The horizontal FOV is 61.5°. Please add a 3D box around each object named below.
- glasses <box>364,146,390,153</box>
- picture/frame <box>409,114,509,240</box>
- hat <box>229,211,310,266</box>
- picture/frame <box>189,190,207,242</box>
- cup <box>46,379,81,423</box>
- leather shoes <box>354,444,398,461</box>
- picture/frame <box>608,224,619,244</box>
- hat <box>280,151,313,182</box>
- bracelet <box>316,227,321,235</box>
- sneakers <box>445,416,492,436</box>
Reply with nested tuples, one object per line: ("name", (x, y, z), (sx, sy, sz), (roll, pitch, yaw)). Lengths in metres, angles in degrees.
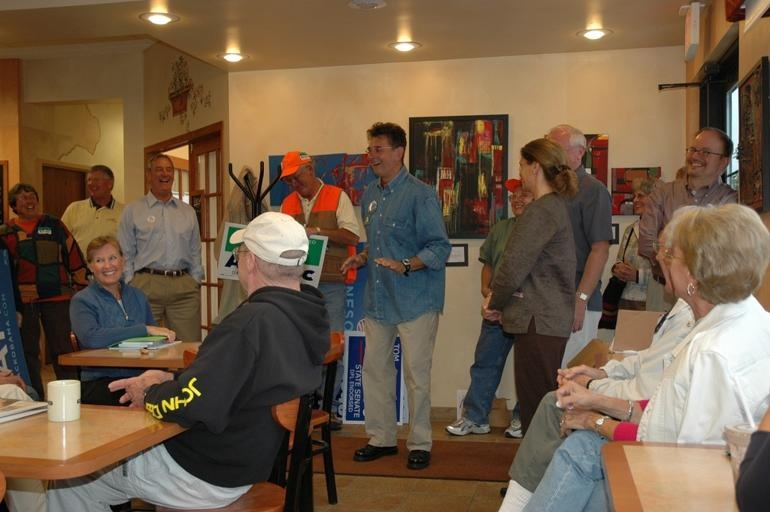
("glasses", (-0.050, -0.798, 4.901), (0.192, 0.051, 0.059), (4, 7, 30))
("picture/frame", (0.752, -0.714, 6.069), (1.196, 1.467, 0.058), (-1, -2, 10))
("hat", (-0.551, -0.084, 3.088), (0.361, 0.180, 0.267), (13, 12, -9))
("picture/frame", (-2.210, -0.480, 7.663), (0.017, 0.547, 0.400), (-1, 1, -37))
("cup", (-1.353, 0.613, 2.740), (0.158, 0.173, 0.147), (2, 2, 0))
("leather shoes", (-0.063, 1.494, 4.948), (0.321, 0.143, 0.119), (4, -4, -15))
("picture/frame", (1.912, -0.170, 5.396), (0.032, 0.251, 0.213), (0, 1, 42))
("hat", (-0.781, -0.795, 5.740), (0.267, 0.151, 0.191), (-22, 13, -11))
("bracelet", (-0.565, -0.209, 5.600), (0.042, 0.063, 0.057), (3, -1, -14))
("sneakers", (0.728, 1.499, 5.679), (0.396, 0.176, 0.144), (4, -4, -9))
